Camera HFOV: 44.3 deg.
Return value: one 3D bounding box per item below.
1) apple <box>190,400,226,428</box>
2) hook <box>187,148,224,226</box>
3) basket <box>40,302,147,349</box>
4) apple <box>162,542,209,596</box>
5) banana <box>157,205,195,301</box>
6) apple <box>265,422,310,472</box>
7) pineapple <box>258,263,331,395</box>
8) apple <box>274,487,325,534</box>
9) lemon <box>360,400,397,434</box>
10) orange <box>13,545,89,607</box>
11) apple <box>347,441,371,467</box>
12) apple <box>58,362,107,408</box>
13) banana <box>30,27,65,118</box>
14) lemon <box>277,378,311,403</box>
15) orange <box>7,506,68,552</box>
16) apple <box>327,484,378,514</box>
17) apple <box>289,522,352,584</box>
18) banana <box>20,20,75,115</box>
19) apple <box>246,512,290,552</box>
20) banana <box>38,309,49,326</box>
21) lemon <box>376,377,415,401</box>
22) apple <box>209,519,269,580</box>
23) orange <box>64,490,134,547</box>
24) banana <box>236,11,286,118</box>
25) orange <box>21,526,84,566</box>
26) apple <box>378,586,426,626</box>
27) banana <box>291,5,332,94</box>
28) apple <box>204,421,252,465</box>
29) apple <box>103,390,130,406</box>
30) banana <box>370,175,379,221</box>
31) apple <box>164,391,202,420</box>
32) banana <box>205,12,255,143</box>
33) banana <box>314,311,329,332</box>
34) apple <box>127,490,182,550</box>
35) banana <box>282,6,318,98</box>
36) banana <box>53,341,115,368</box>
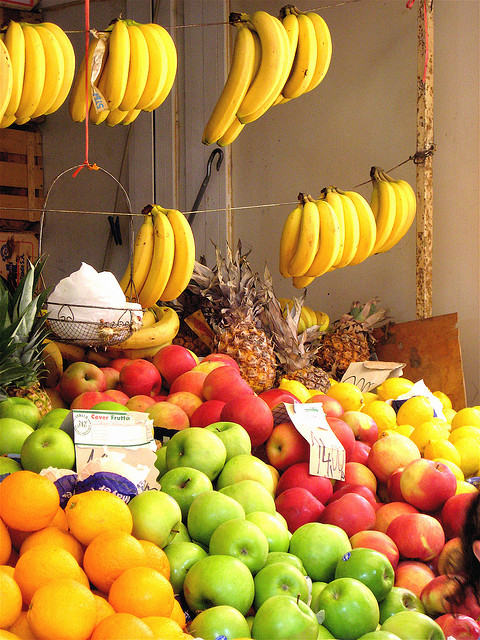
[{"bbox_3d":[-0.079,0.244,1.554,0.063,0.076,0.088,-12,28,19],"label":"apple"},{"bbox_3d":[-0.270,-1.042,4.540,0.053,0.836,0.175,22,-1,-25],"label":"hook"},{"bbox_3d":[-0.454,0.021,1.793,0.279,0.102,0.175,7,3,12],"label":"basket"},{"bbox_3d":[-0.100,0.404,1.016,0.066,0.075,0.083,25,4,-28],"label":"apple"},{"bbox_3d":[-0.230,-0.252,2.352,0.068,0.328,0.223,4,4,5],"label":"banana"},{"bbox_3d":[0.130,0.315,1.523,0.096,0.115,0.105,23,-1,10],"label":"apple"},{"bbox_3d":[0.287,0.173,2.840,0.237,0.600,0.236,-28,23,-28],"label":"pineapple"},{"bbox_3d":[0.123,0.405,1.293,0.069,0.090,0.073,-5,6,-12],"label":"apple"},{"bbox_3d":[0.481,0.320,2.021,0.097,0.104,0.095,0,8,-2],"label":"lemon"},{"bbox_3d":[-0.261,0.341,0.812,0.091,0.098,0.080,15,-17,-21],"label":"orange"},{"bbox_3d":[0.328,0.366,1.623,0.045,0.055,0.052,15,-28,27],"label":"apple"},{"bbox_3d":[-0.490,0.179,1.831,0.107,0.140,0.124,-5,12,-20],"label":"apple"},{"bbox_3d":[-0.629,-0.820,1.974,0.052,0.217,0.152,6,13,6],"label":"banana"},{"bbox_3d":[0.202,0.244,2.101,0.085,0.087,0.077,14,14,-2],"label":"lemon"},{"bbox_3d":[-0.330,0.339,0.947,0.071,0.071,0.071,7,42,-23],"label":"orange"},{"bbox_3d":[0.261,0.400,1.375,0.067,0.083,0.080,4,38,-34],"label":"apple"},{"bbox_3d":[0.155,0.424,1.135,0.084,0.110,0.095,-4,6,-12],"label":"apple"},{"bbox_3d":[-0.627,-0.867,2.014,0.067,0.318,0.218,-4,10,-8],"label":"banana"},{"bbox_3d":[0.055,0.380,1.090,0.074,0.079,0.069,0,-14,30],"label":"apple"},{"bbox_3d":[-0.591,-0.005,1.773,0.037,0.051,0.016,-1,3,24],"label":"banana"},{"bbox_3d":[0.642,0.268,2.419,0.114,0.089,0.089,-12,15,1],"label":"lemon"},{"bbox_3d":[0.012,0.387,1.025,0.090,0.112,0.120,-6,-13,7],"label":"apple"},{"bbox_3d":[-0.229,0.316,0.956,0.091,0.070,0.074,39,39,-1],"label":"orange"},{"bbox_3d":[0.058,-1.060,2.308,0.080,0.257,0.474,18,7,-18],"label":"banana"},{"bbox_3d":[-0.289,0.332,0.899,0.060,0.073,0.066,13,-1,-5],"label":"orange"},{"bbox_3d":[0.285,0.498,1.035,0.054,0.063,0.054,-35,-47,19],"label":"apple"},{"bbox_3d":[0.298,-1.098,2.415,0.068,0.321,0.215,3,7,16],"label":"banana"},{"bbox_3d":[-0.022,0.267,1.344,0.071,0.091,0.079,-15,0,-5],"label":"apple"},{"bbox_3d":[-0.358,0.224,1.721,0.053,0.050,0.046,30,9,14],"label":"apple"},{"bbox_3d":[0.722,-0.664,3.160,0.042,0.205,0.062,2,-10,-20],"label":"banana"},{"bbox_3d":[-0.167,0.232,1.659,0.069,0.072,0.071,-3,35,7],"label":"apple"},{"bbox_3d":[-0.045,-0.879,2.260,0.148,0.510,0.116,11,16,-9],"label":"banana"},{"bbox_3d":[0.512,0.017,3.628,0.038,0.101,0.133,14,36,-25],"label":"banana"},{"bbox_3d":[-0.155,0.355,1.020,0.080,0.106,0.094,-6,-19,-18],"label":"apple"},{"bbox_3d":[0.250,-1.059,2.392,0.176,0.367,0.082,-4,16,-44],"label":"banana"},{"bbox_3d":[-0.560,0.124,2.101,0.186,0.078,0.045,20,-30,-24],"label":"banana"}]
